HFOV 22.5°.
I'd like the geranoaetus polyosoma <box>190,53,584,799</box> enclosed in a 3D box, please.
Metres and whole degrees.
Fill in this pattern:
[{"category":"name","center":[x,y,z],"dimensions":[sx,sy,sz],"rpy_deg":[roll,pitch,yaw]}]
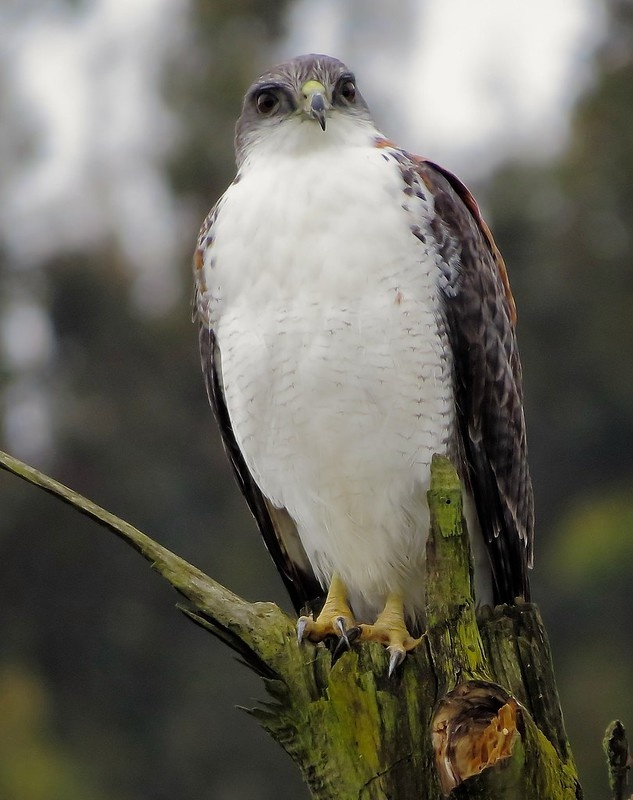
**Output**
[{"category":"geranoaetus polyosoma","center":[0.129,0.039,4.528],"dimensions":[0.883,1.836,1.139],"rpy_deg":[-18,-43,15]}]
